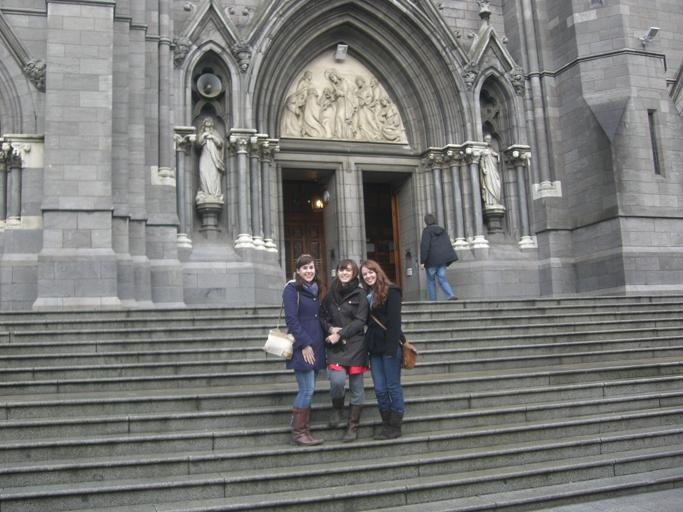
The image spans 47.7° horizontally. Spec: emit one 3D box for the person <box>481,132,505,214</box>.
[{"bbox_3d":[3.936,-2.258,20.362,0.859,2.150,0.404,4,-11,-39],"label":"person"}]

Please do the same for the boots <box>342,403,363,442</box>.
[{"bbox_3d":[0.139,2.163,10.080,0.255,0.467,0.276,-2,-8,0],"label":"boots"}]

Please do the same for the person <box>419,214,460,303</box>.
[{"bbox_3d":[2.103,0.025,16.778,0.760,1.895,0.791,-4,-8,12],"label":"person"}]

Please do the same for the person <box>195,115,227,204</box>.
[{"bbox_3d":[-3.116,-2.204,18.160,0.686,2.014,0.387,-1,-9,-9],"label":"person"}]

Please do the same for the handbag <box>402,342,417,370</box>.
[{"bbox_3d":[0.890,1.290,10.221,0.171,0.338,0.324,-3,-8,4],"label":"handbag"}]

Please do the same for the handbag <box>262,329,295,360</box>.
[{"bbox_3d":[-0.796,1.115,9.801,0.360,0.387,0.182,-2,-8,-6],"label":"handbag"}]

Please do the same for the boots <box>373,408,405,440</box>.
[{"bbox_3d":[0.617,2.194,10.112,0.366,0.357,0.289,-3,-8,1],"label":"boots"}]

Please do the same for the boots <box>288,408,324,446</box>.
[{"bbox_3d":[-0.452,2.164,9.838,0.386,0.465,0.175,-2,-8,-5],"label":"boots"}]
